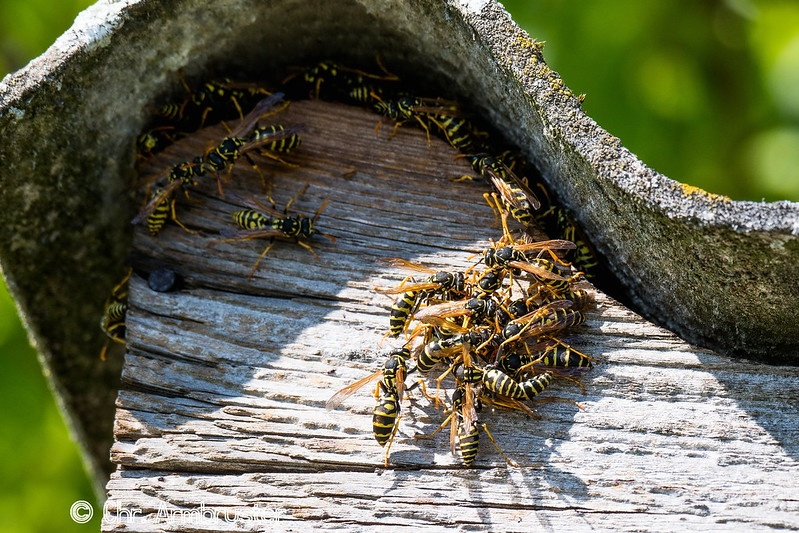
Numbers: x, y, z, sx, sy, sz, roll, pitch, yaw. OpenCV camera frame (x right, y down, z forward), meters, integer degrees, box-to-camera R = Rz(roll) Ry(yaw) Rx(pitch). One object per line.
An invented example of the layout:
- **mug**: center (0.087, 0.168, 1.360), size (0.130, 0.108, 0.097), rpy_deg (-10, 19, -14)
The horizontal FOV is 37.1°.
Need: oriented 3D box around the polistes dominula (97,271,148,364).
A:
- **polistes dominula**: center (-1.422, 0.243, 6.059), size (0.144, 0.421, 0.300), rpy_deg (4, 52, -2)
